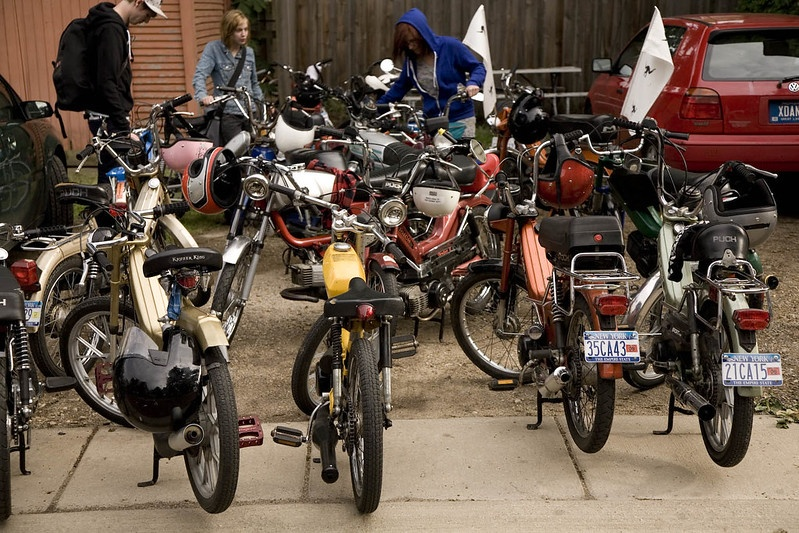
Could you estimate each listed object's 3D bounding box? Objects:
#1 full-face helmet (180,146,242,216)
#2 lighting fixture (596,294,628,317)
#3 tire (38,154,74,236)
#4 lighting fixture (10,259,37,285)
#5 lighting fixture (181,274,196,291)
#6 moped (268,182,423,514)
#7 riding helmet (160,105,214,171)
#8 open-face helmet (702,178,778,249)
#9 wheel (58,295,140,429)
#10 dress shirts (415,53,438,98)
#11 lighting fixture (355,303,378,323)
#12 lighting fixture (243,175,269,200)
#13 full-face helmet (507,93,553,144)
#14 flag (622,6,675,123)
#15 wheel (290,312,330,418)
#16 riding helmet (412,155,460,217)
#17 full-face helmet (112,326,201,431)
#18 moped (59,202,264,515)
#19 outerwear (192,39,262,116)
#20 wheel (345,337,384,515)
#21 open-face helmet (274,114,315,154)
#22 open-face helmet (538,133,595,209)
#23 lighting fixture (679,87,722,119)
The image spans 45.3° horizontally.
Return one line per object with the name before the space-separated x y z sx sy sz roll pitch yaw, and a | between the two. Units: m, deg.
full-face helmet | -1.462 -0.633 7.338 0.436 0.487 0.461 5 2 -3
lighting fixture | 1.355 0.203 6.136 0.176 0.136 0.122 0 11 -3
tire | -3.127 -0.661 8.662 0.285 0.840 0.782 -1 5 -6
lighting fixture | -2.653 0.024 6.779 0.161 0.162 0.171 2 13 -4
lighting fixture | -1.310 0.091 5.939 0.080 0.103 0.049 -1 4 -10
moped | -0.245 0.513 6.245 0.905 1.214 1.887 1 26 -12
riding helmet | -1.810 -0.996 8.070 0.391 0.272 0.328 4 5 -4
open-face helmet | 2.393 -0.396 6.696 0.466 0.487 0.488 10 16 41
wheel | -2.074 0.677 6.630 0.850 1.051 0.158 2 3 41
dress shirts | 0.275 -2.013 9.795 0.241 0.362 0.369 -4 35 1
lighting fixture | -0.202 0.280 5.817 0.092 0.105 0.064 0 -20 6
lighting fixture | -1.061 -0.602 7.106 0.198 0.230 0.420 -3 13 -9
full-face helmet | 1.103 -1.256 8.186 0.299 0.345 0.455 -6 53 -1
flag | 2.216 -1.873 8.626 0.325 1.015 0.548 -8 13 -30
wheel | -0.642 0.702 6.676 0.203 0.665 0.623 4 -7 4
riding helmet | 0.282 -0.648 7.505 0.397 0.552 0.395 -1 5 -1
full-face helmet | -1.482 0.791 6.002 0.531 0.724 0.610 -8 -31 0
moped | -1.561 0.533 6.620 1.087 1.855 2.998 -4 4 -26
outerwear | -1.890 -2.153 10.505 0.784 0.816 0.417 -4 3 -35
wheel | -0.218 0.985 5.851 0.233 0.834 0.797 -1 25 -6
open-face helmet | -0.938 -1.204 8.504 0.369 0.309 0.377 6 17 8
open-face helmet | 1.326 -0.789 7.621 0.478 0.644 0.453 -4 17 -10
lighting fixture | 3.137 -1.746 9.935 0.313 0.313 0.336 -2 18 3
